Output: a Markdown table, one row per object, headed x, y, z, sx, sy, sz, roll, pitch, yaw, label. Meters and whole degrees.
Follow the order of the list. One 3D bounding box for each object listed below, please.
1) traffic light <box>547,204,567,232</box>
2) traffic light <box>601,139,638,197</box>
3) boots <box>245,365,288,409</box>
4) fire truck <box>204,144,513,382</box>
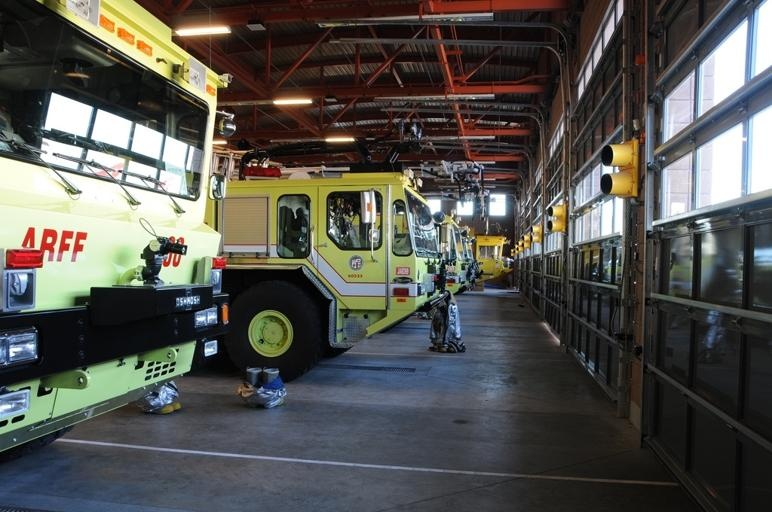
| x | y | z | sx | sy | sz | roll | pitch | yaw | label |
| --- | --- | --- | --- | --- | --- | --- | --- | --- | --- |
| 3.918 | -0.857 | 11.103 | 0.318 | 0.630 | 1.370 | 2 | 3 | 16 | traffic light |
| 2.797 | -1.056 | 5.821 | 0.381 | 0.710 | 0.321 | 1 | 2 | 5 | traffic light |
| -1.574 | 1.767 | 6.526 | 0.556 | 0.426 | 0.406 | -2 | 1 | -11 | boots |
| -0.752 | 0.115 | 8.817 | 4.058 | 2.662 | 2.880 | 1 | 0 | 7 | fire truck |
